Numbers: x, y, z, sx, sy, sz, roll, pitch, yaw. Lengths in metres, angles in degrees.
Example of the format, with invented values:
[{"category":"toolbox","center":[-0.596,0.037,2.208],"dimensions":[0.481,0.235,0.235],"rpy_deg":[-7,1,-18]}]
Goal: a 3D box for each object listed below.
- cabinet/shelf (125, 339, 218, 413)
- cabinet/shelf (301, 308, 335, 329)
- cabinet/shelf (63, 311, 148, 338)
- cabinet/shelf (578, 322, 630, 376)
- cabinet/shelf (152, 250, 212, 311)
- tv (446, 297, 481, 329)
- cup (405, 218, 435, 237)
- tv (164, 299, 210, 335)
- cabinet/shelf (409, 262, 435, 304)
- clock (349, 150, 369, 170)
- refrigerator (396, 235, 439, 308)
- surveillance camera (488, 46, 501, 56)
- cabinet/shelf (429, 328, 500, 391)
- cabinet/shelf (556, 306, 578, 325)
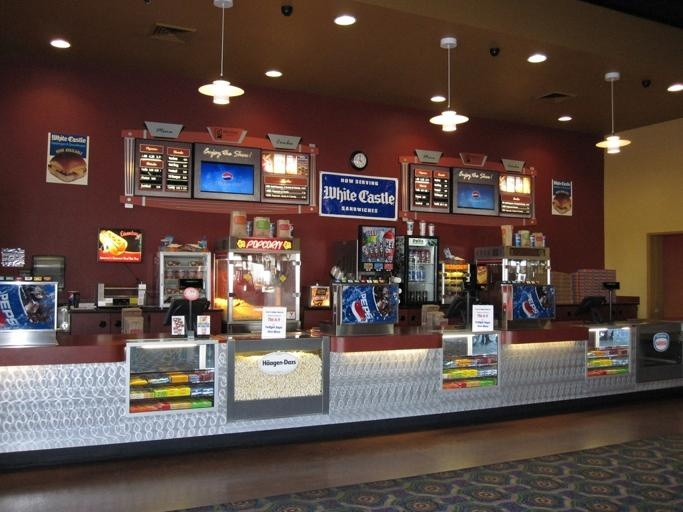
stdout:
[{"category":"cabinet/shelf","center":[-1.649,1.218,5.835],"dimensions":[0.855,0.707,0.306],"rpy_deg":[3,-20,-25]},{"category":"cabinet/shelf","center":[-0.396,0.938,9.030],"dimensions":[0.467,0.336,0.293],"rpy_deg":[1,4,5]},{"category":"cabinet/shelf","center":[-2.992,0.855,7.868],"dimensions":[1.063,0.322,0.564],"rpy_deg":[2,5,20]},{"category":"cabinet/shelf","center":[3.305,1.211,7.572],"dimensions":[0.688,0.641,0.245],"rpy_deg":[0,-3,-16]},{"category":"cabinet/shelf","center":[-2.259,0.308,8.564],"dimensions":[0.666,0.779,0.420],"rpy_deg":[0,7,-16]},{"category":"tv","center":[1.533,0.697,7.575],"dimensions":[0.454,0.591,0.460],"rpy_deg":[-1,-6,16]},{"category":"cup","center":[1.401,-0.512,10.324],"dimensions":[0.594,0.260,0.294],"rpy_deg":[-1,5,-13]},{"category":"tv","center":[-1.575,0.672,6.029],"dimensions":[0.516,0.351,0.297],"rpy_deg":[4,-5,-30]},{"category":"cabinet/shelf","center":[1.361,0.423,9.937],"dimensions":[0.404,0.706,0.235],"rpy_deg":[1,3,4]},{"category":"clock","center":[0.299,-1.621,10.018],"dimensions":[0.339,0.350,0.085],"rpy_deg":[-2,5,-33]},{"category":"refrigerator","center":[1.277,0.220,9.768],"dimensions":[0.709,1.109,0.511],"rpy_deg":[1,4,2]},{"category":"surveillance camera","center":[2.057,-2.778,8.029],"dimensions":[0.091,0.027,0.089],"rpy_deg":[11,-19,-29]},{"category":"cabinet/shelf","center":[1.409,1.219,6.879],"dimensions":[0.865,0.728,0.326],"rpy_deg":[1,-2,-24]},{"category":"cabinet/shelf","center":[3.668,0.958,9.736],"dimensions":[0.459,0.311,0.261],"rpy_deg":[1,-3,-27]}]
